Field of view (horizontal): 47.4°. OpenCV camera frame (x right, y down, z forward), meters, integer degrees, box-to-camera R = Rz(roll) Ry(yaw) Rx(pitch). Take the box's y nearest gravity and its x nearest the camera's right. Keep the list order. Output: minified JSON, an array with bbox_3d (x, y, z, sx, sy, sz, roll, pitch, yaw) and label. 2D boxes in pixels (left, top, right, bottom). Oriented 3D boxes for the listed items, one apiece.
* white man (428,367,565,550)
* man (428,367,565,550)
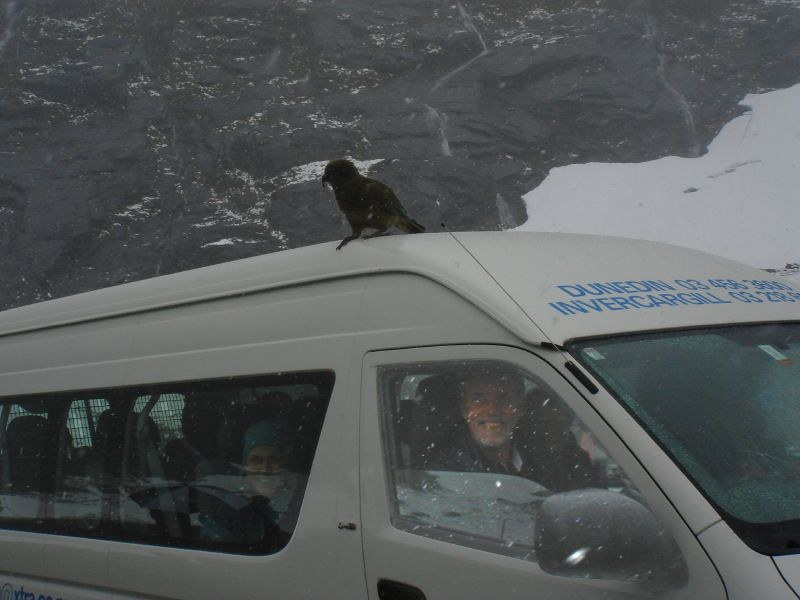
[{"bbox_3d":[0.574,0.882,5.176,0.643,1.022,0.554,-2,2,12],"label":"white man"},{"bbox_3d":[0.594,0.845,5.168,0.643,1.022,0.554,-2,2,12],"label":"man"}]
